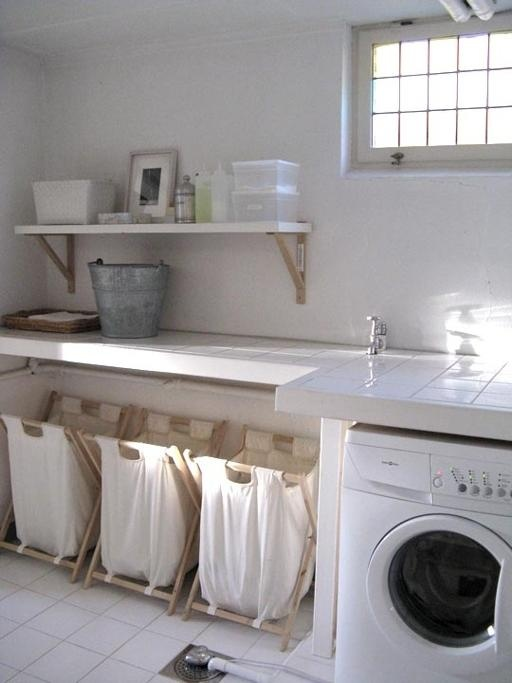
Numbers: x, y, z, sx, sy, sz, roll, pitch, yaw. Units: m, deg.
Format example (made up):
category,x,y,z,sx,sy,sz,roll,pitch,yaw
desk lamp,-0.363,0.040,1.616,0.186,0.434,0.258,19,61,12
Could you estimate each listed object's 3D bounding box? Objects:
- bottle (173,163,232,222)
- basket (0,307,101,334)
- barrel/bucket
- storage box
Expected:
category,x,y,z,sx,sy,sz,roll,pitch,yaw
bottle,-0.207,-0.591,2.234,0.273,0.278,0.177,8,12,35
basket,-0.968,-0.105,2.714,0.516,0.114,0.395,2,3,30
barrel/bucket,-0.559,-0.199,2.471,0.334,0.315,0.329,0,7,0
storage box,0.039,-0.529,2.143,0.253,0.248,0.255,2,3,28
